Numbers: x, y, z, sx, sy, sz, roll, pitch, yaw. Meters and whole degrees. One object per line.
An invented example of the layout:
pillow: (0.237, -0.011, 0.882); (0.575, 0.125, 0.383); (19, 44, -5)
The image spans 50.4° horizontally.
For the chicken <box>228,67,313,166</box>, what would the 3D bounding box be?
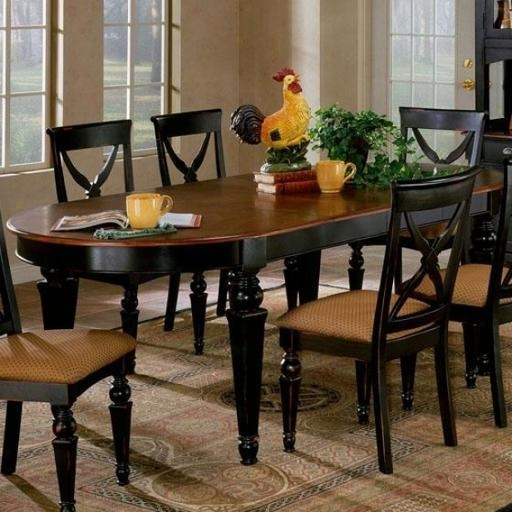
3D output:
chicken: (0.102, -0.604, 2.394); (0.292, 0.374, 0.398); (-20, 22, -36)

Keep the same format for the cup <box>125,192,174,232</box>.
cup: (-0.311, -0.128, 1.625); (0.126, 0.101, 0.165); (0, 1, 42)

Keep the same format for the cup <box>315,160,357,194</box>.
cup: (0.339, -0.343, 2.371); (0.140, 0.124, 0.210); (1, 3, 43)
